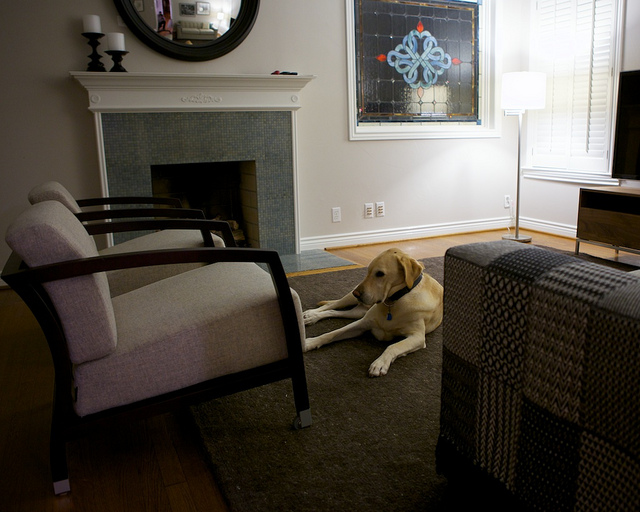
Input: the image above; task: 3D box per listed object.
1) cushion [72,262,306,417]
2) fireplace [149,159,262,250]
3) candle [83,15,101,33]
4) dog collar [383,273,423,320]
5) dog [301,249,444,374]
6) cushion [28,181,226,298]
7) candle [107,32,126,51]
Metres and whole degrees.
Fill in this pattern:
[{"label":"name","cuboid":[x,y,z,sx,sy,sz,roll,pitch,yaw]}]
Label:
[{"label":"cushion","cuboid":[-0.460,0.261,1.682,0.473,0.181,0.523,-20,6,-16]},{"label":"fireplace","cuboid":[-0.834,-0.402,3.564,0.586,0.603,0.332,-6,21,-15]},{"label":"candle","cuboid":[-1.593,-1.604,3.421,0.118,0.121,0.108,-5,16,-10]},{"label":"dog collar","cuboid":[0.384,0.187,2.312,0.149,0.227,0.088,5,-8,38]},{"label":"dog","cuboid":[0.301,0.195,2.394,0.460,0.477,0.628,11,22,40]},{"label":"cushion","cuboid":[-0.885,-0.056,2.435,0.718,0.605,0.715,-15,22,-19]},{"label":"candle","cuboid":[-1.443,-1.501,3.485,0.113,0.120,0.161,-9,18,-21]}]
